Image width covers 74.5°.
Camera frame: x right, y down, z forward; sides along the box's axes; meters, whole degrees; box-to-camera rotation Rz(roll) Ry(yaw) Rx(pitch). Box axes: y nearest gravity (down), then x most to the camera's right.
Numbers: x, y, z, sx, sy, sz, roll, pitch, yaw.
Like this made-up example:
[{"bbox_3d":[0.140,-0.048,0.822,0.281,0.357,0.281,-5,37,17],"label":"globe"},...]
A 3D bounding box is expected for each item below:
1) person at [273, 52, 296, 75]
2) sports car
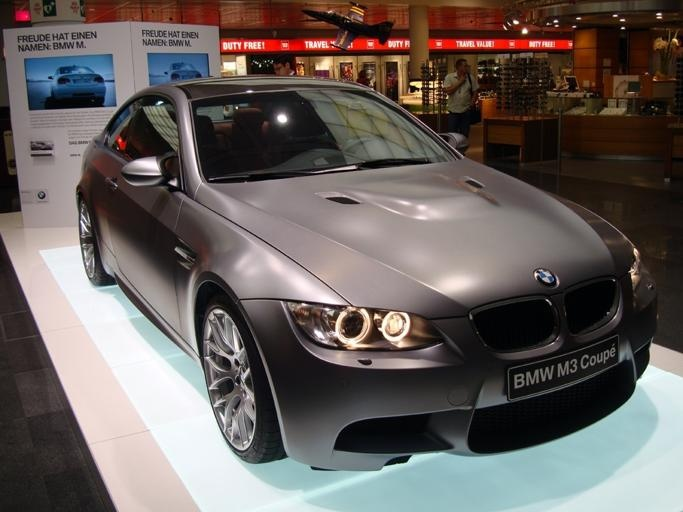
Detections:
[{"bbox_3d":[-1.233,-3.973,9.526,0.353,0.499,1.657,-5,18,-8],"label":"person"},{"bbox_3d":[-0.462,-0.063,2.883,1.689,1.160,3.595,-8,18,-30],"label":"sports car"}]
